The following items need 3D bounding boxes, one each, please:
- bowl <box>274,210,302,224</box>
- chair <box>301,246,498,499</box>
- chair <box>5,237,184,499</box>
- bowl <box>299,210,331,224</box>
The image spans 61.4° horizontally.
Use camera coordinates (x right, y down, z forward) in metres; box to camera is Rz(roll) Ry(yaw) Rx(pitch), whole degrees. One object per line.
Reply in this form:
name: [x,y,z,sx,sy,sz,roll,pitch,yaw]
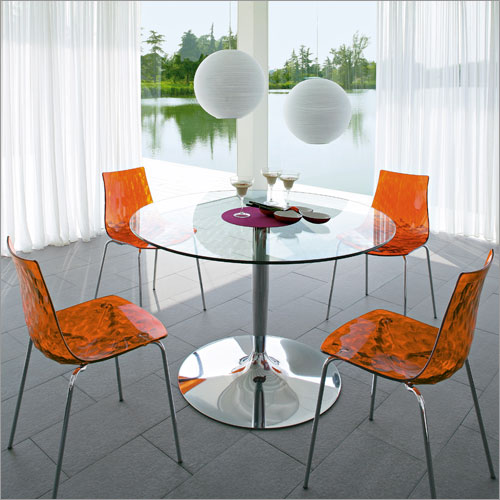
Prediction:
bowl: [0.184,-0.161,2.071,0.132,0.053,0.147,-3,19,0]
chair: [0.492,0.377,1.461,0.487,0.844,0.588,9,24,29]
chair: [-0.704,0.544,1.938,0.644,0.978,0.575,-12,28,-33]
bowl: [0.335,-0.165,2.133,0.097,0.028,0.092,2,19,-1]
